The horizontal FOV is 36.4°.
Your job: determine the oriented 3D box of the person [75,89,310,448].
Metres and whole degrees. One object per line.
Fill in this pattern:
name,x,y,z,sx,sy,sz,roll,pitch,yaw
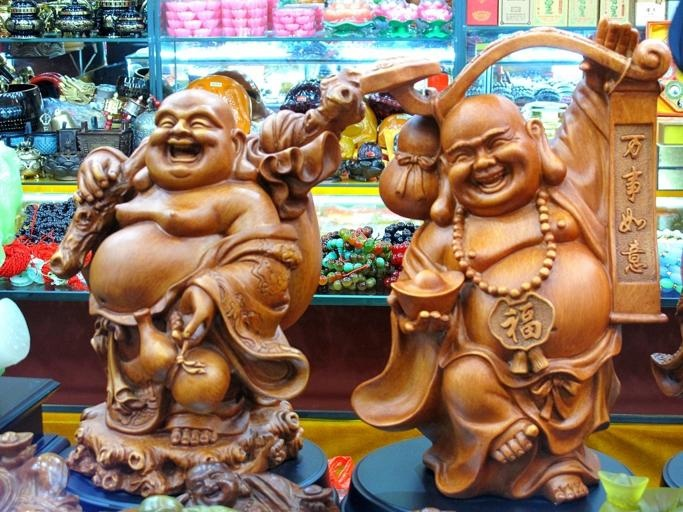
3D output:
person,-0.389,0.021,2.724,0.573,0.896,0.354,-3,14,-6

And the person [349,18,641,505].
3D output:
person,0.388,0.024,2.695,0.666,1.173,0.364,1,14,14
